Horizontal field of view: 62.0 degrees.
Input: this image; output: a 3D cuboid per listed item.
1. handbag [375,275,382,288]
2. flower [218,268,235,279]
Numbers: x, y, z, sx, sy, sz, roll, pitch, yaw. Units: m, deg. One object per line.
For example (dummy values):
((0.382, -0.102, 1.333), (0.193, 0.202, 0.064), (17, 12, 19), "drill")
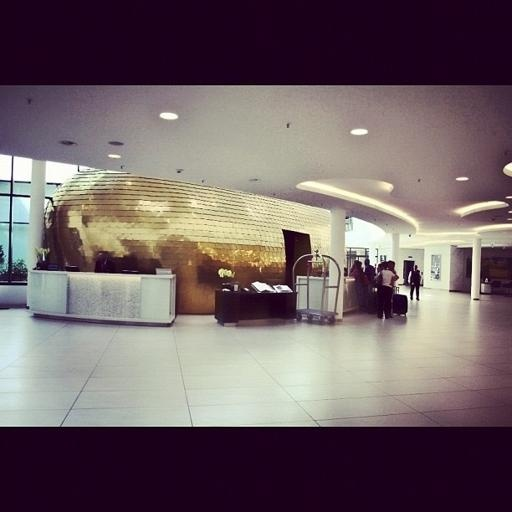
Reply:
((3.221, 0.632, 11.304), (0.084, 0.332, 0.247), (0, -1, -7), "handbag")
((-0.733, 0.416, 10.259), (0.374, 0.179, 0.276), (1, -3, 6), "flower")
